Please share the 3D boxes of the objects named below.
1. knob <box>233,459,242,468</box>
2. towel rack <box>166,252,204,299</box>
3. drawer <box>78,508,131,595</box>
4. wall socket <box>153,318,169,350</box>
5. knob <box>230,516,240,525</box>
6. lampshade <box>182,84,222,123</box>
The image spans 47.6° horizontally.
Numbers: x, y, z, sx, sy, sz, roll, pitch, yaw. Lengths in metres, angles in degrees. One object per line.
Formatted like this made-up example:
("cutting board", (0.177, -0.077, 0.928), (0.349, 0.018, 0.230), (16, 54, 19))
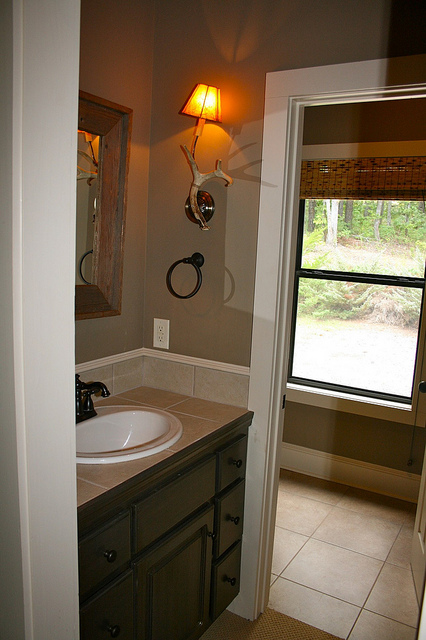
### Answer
("knob", (0.094, 0.529, 1.791), (0.034, 0.024, 0.024), (8, -36, 0))
("towel rack", (-0.095, -0.162, 1.926), (0.121, 0.197, 0.046), (11, 3, 8))
("drawer", (-0.257, 0.541, 1.141), (0.096, 0.115, 0.160), (-1, 4, 22))
("wall socket", (-0.219, 0.053, 2.070), (0.098, 0.194, 0.019), (9, 14, 41))
("knob", (0.086, 0.746, 1.796), (0.035, 0.025, 0.024), (-4, -33, 22))
("lampshade", (-0.033, -0.782, 1.737), (0.139, 0.147, 0.089), (14, 11, -15))
